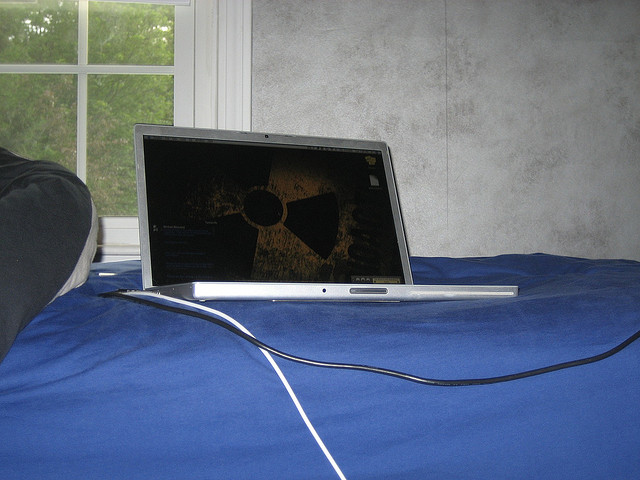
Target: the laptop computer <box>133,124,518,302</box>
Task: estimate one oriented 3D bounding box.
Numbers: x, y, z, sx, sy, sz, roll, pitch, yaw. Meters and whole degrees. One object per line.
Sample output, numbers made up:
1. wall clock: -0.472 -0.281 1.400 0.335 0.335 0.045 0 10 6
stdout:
1. laptop computer: 0.014 -0.075 1.318 0.502 0.376 0.319 2 83 -22
